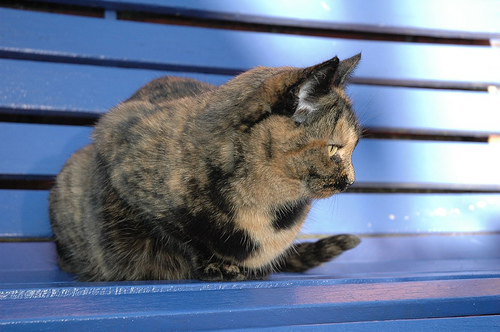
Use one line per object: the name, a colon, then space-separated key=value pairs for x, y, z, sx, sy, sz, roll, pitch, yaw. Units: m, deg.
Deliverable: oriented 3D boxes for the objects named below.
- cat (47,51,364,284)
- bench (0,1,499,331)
cat: x=-0.209 y=0.106 z=3.550 sx=1.796 sy=1.180 sz=1.227 roll=-2 pitch=-8 yaw=8
bench: x=-0.129 y=-0.126 z=4.943 sx=4.177 sy=2.126 sz=1.812 roll=0 pitch=0 yaw=-17
